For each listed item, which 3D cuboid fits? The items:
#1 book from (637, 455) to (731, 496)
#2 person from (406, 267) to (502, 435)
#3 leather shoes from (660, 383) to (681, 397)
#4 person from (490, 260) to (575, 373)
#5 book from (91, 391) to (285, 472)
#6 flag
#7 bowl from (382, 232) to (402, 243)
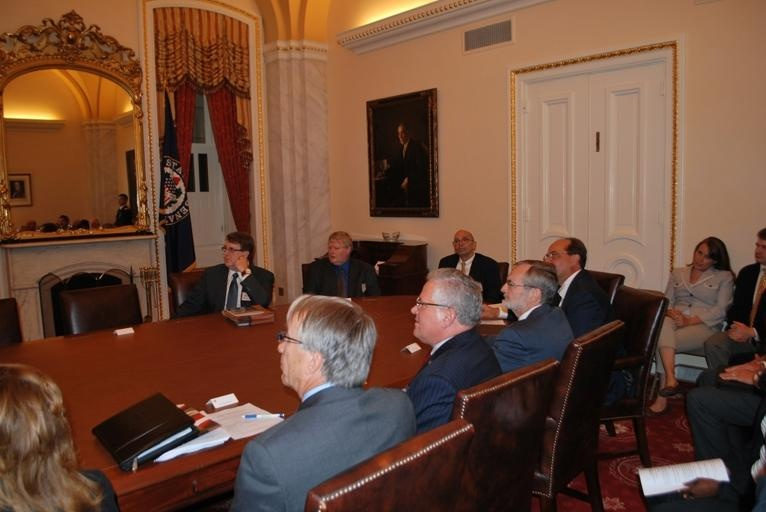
[{"bbox_3d":[1.299,0.959,2.389,0.342,0.172,0.140,-10,-7,4],"label":"book"},{"bbox_3d":[0.355,0.530,3.013,0.443,0.881,0.858,10,11,18],"label":"person"},{"bbox_3d":[2.329,1.086,4.559,0.175,0.071,0.073,0,-12,-36],"label":"leather shoes"},{"bbox_3d":[0.924,0.366,3.395,0.436,0.802,0.419,-8,18,-43],"label":"person"},{"bbox_3d":[-0.991,0.810,2.619,0.432,0.084,0.420,-10,12,-38],"label":"book"},{"bbox_3d":[-2.638,-0.910,7.042,0.381,2.192,0.203,-5,8,-27],"label":"flag"},{"bbox_3d":[0.108,-0.252,6.986,0.236,0.113,0.383,-2,8,0],"label":"bowl"}]
